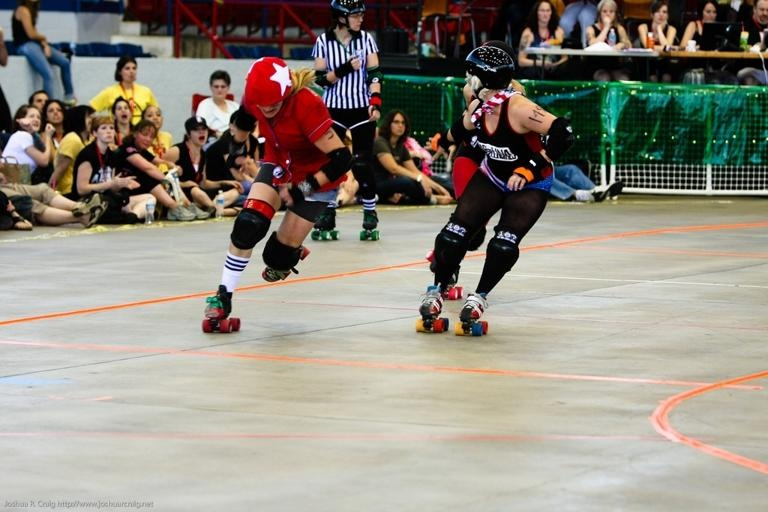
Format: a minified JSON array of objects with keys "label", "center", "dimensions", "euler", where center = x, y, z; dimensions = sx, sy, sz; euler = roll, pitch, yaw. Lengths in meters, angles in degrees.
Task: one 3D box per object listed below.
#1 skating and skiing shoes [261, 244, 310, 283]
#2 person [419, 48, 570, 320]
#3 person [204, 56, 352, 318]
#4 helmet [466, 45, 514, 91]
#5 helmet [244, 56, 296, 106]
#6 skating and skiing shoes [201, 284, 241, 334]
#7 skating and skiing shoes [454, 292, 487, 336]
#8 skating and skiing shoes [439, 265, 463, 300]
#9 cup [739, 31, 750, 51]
[{"label":"skating and skiing shoes","center":[-0.735,0.079,6.311],"dimensions":[0.395,0.127,0.175],"euler":[-41,5,3]},{"label":"person","center":[0.880,-0.460,6.158],"dimensions":[1.357,1.746,0.873],"euler":[-2,5,-31]},{"label":"person","center":[-0.722,-0.452,5.964],"dimensions":[1.000,1.745,0.548],"euler":[-1,10,-20]},{"label":"helmet","center":[0.755,-1.281,6.029],"dimensions":[0.328,0.328,0.276],"euler":[-21,7,24]},{"label":"helmet","center":[-0.747,-1.126,5.655],"dimensions":[0.311,0.325,0.242],"euler":[0,9,-12]},{"label":"skating and skiing shoes","center":[-1.138,0.382,5.871],"dimensions":[0.228,0.162,0.404],"euler":[2,12,-9]},{"label":"skating and skiing shoes","center":[0.599,0.411,5.905],"dimensions":[0.217,0.270,0.213],"euler":[3,9,9]},{"label":"skating and skiing shoes","center":[0.498,0.272,6.982],"dimensions":[0.189,0.213,0.303],"euler":[0,2,9]},{"label":"cup","center":[6.486,-3.858,15.645],"dimensions":[0.178,0.349,0.357],"euler":[6,10,19]}]
